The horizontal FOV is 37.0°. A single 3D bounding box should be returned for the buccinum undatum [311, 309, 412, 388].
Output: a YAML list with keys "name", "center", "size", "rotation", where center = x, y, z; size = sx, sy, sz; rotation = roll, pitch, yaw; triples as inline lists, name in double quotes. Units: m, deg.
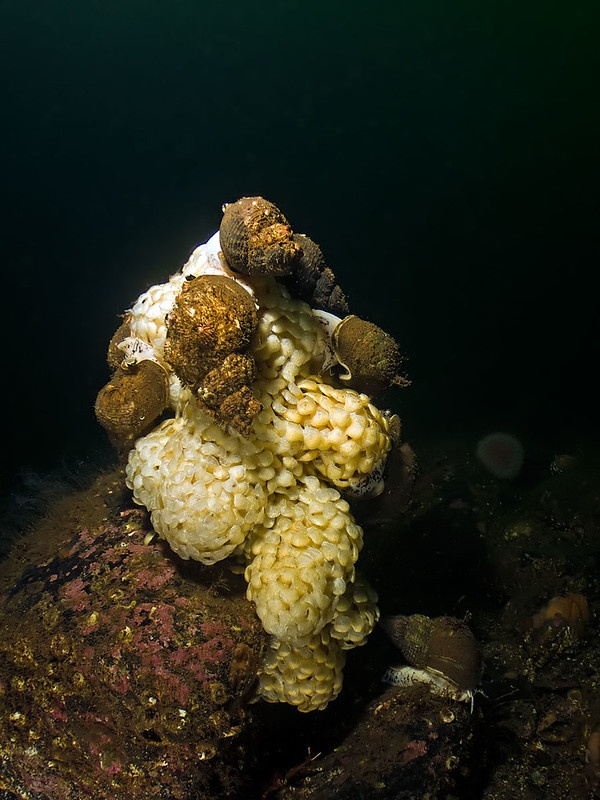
- name: "buccinum undatum"
  center: [0.206, -0.174, 3.111]
  size: [0.364, 0.147, 0.212]
  rotation: [41, 93, -4]
